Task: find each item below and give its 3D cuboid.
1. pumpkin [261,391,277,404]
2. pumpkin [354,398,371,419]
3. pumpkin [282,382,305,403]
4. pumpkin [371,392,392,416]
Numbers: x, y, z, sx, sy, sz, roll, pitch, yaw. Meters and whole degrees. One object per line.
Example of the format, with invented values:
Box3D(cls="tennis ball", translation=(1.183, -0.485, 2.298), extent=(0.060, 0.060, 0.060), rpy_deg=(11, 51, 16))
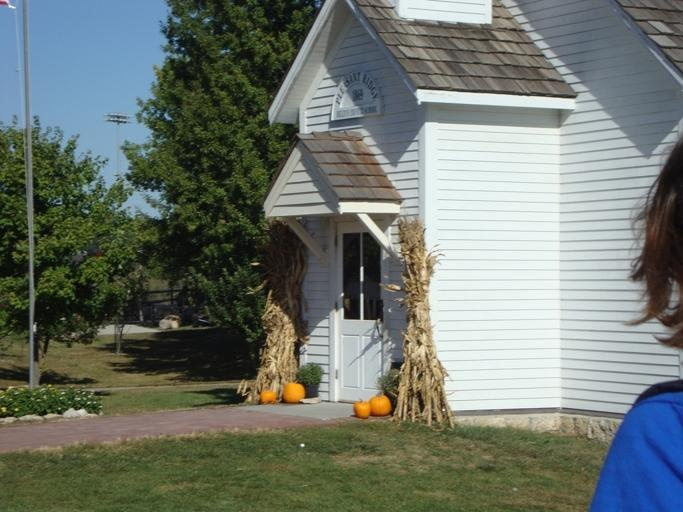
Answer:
Box3D(cls="pumpkin", translation=(-1.403, 2.704, 15.731), extent=(0.335, 0.241, 0.366), rpy_deg=(-1, 2, -4))
Box3D(cls="pumpkin", translation=(0.331, 2.602, 14.035), extent=(0.287, 0.305, 0.274), rpy_deg=(-7, 4, -43))
Box3D(cls="pumpkin", translation=(-0.939, 2.591, 15.631), extent=(0.398, 0.334, 0.376), rpy_deg=(-3, 2, -15))
Box3D(cls="pumpkin", translation=(0.723, 2.561, 14.130), extent=(0.356, 0.312, 0.341), rpy_deg=(-1, -5, -38))
